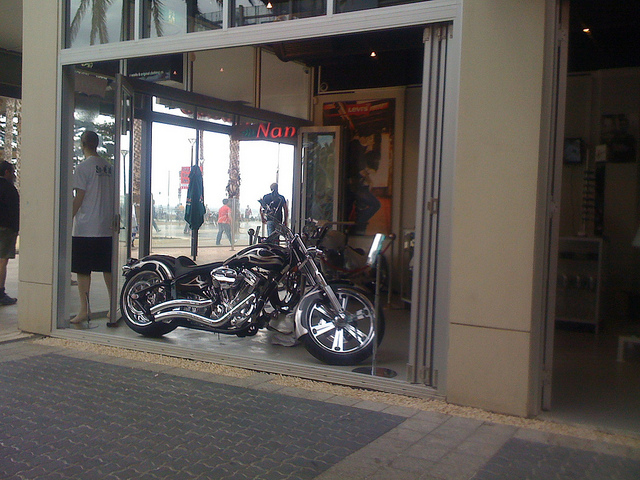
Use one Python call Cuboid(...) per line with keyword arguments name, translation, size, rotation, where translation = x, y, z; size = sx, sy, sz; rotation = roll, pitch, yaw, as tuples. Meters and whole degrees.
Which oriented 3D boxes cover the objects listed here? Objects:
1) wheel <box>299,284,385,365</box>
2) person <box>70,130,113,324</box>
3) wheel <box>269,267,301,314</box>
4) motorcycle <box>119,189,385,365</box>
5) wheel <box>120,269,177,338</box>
Cuboid(name="wheel", translation=(0.242, 0.808, 5.148), size=(0.696, 0.734, 0.707), rotation=(3, -8, 0))
Cuboid(name="person", translation=(-2.527, -0.152, 6.264), size=(0.391, 2.108, 0.635), rotation=(3, 8, 14))
Cuboid(name="wheel", translation=(-0.315, 0.515, 5.654), size=(0.098, 0.413, 0.425), rotation=(20, -21, -16))
Cuboid(name="motorcycle", translation=(-0.730, 0.387, 5.374), size=(2.575, 1.392, 1.043), rotation=(4, -6, 16))
Cuboid(name="wheel", translation=(-1.720, 0.639, 5.693), size=(0.541, 0.626, 0.220), rotation=(14, -8, 15))
